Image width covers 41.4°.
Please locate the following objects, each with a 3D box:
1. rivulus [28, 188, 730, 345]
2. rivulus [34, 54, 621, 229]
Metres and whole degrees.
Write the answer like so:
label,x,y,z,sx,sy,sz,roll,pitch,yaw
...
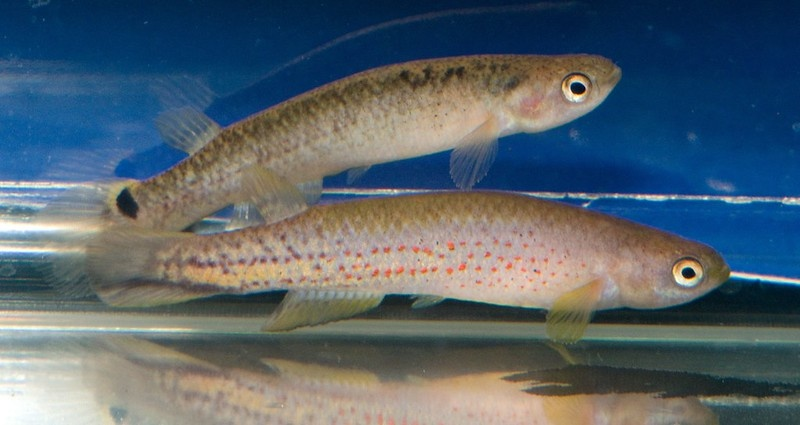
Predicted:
label,x,y,z,sx,sy,sz,roll,pitch,yaw
rivulus,0.060,0.309,5.908,3.588,0.849,0.665,1,23,0
rivulus,-0.405,-0.369,6.038,3.474,0.797,0.628,-17,23,-6
